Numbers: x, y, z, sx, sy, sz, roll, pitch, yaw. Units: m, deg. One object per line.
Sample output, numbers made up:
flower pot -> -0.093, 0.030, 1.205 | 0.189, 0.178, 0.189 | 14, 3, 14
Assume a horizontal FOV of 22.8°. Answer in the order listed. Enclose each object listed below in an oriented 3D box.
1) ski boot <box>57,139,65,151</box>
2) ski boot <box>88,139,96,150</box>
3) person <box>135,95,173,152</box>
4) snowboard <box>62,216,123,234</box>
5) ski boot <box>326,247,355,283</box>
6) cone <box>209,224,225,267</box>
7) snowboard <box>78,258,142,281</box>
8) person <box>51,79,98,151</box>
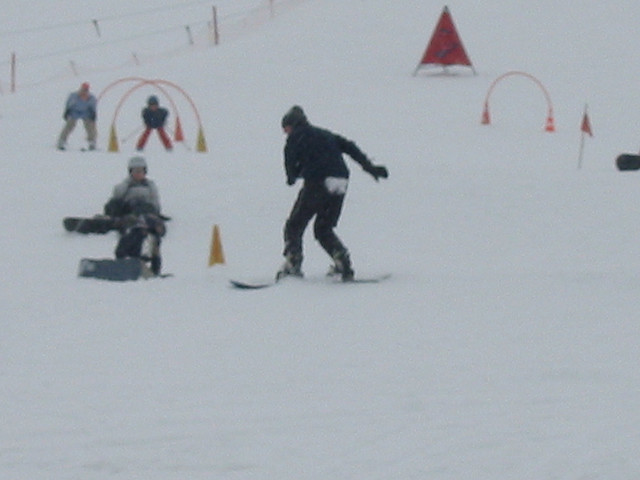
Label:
ski boot -> -4.477, -1.640, 27.494 | 0.081, 0.193, 0.178 | 3, -1, -22
ski boot -> -3.930, -1.655, 27.387 | 0.129, 0.132, 0.083 | -6, -2, -3
person -> -2.832, -1.933, 27.062 | 0.605, 1.098, 0.260 | 0, -34, -7
snowboard -> -3.424, -0.233, 24.327 | 0.809, 0.297, 0.216 | -3, 17, 24
ski boot -> 0.321, 0.304, 24.465 | 0.579, 0.262, 0.398 | -36, 11, 42
cone -> -1.661, 0.078, 25.300 | 0.238, 0.510, 0.176 | -5, -2, 0
snowboard -> -3.203, 0.454, 24.378 | 0.554, 0.252, 0.479 | -2, -4, 17
person -> -4.125, -2.136, 27.357 | 0.638, 1.267, 0.594 | 6, 27, -12
